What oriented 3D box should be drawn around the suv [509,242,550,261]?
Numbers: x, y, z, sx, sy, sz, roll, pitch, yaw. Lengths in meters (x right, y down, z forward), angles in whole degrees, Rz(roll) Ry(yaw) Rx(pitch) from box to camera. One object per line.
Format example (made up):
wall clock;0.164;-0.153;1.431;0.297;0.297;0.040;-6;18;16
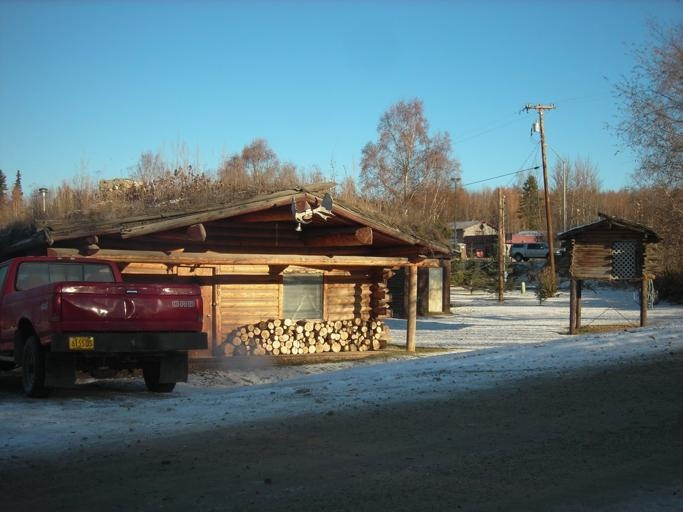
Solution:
suv;16.776;-0.430;67.920;0.820;1.746;3.799;-10;9;-37
